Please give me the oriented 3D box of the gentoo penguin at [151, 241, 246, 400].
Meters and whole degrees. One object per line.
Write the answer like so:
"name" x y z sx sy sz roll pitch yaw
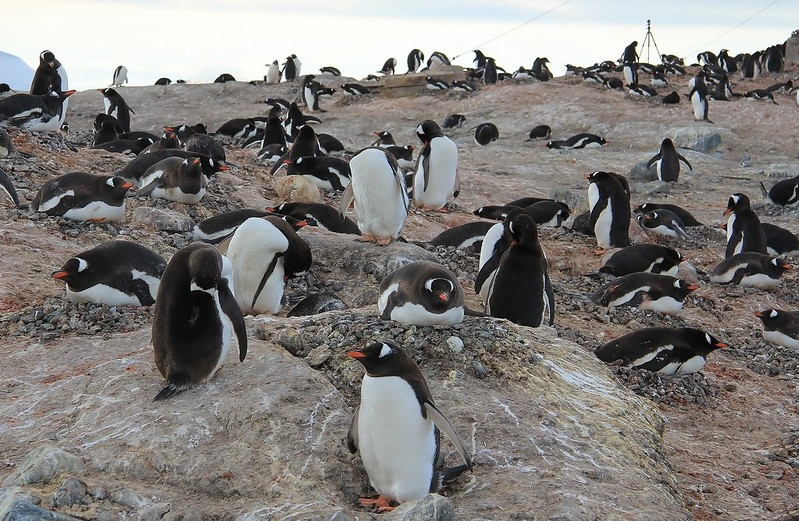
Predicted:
"gentoo penguin" -1.613 0.477 5.706 0.727 1.172 0.510 -2 18 -14
